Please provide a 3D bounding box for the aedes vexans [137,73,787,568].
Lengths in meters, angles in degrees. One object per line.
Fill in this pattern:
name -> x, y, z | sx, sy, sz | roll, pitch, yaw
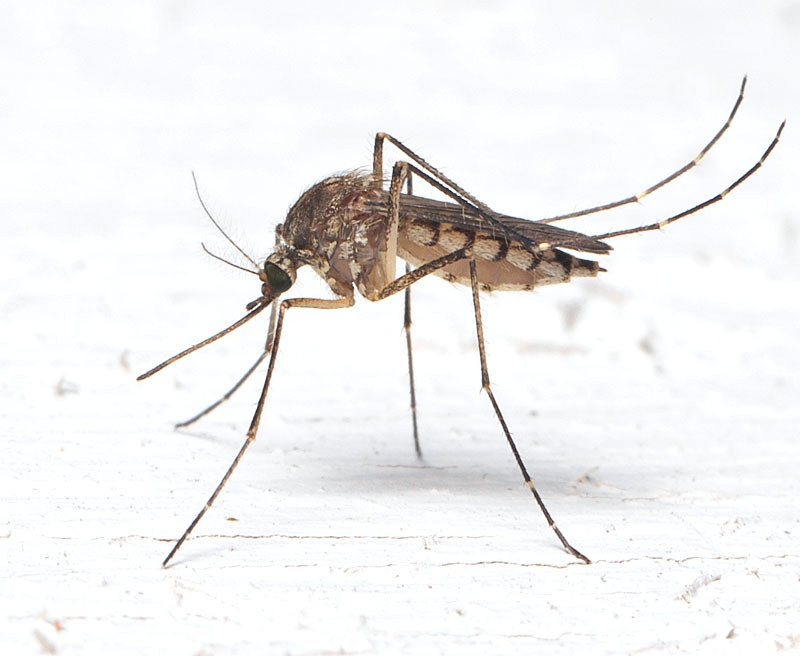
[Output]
aedes vexans -> 0.059, -0.035, 3.397 | 1.526, 1.290, 1.024 | 6, 10, 15
